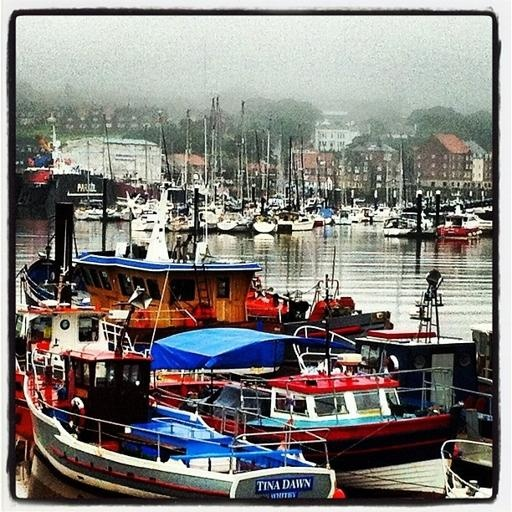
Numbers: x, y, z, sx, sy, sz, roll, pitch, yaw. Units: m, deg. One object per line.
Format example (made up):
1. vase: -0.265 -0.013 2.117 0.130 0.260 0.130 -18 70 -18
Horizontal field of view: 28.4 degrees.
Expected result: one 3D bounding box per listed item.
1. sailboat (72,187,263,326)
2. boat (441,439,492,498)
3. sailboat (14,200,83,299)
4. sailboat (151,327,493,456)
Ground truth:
1. sailboat: -1.902 0.116 17.945 1.651 2.252 3.305 -1 1 -32
2. boat: 2.632 2.436 12.582 0.635 0.196 0.851 0 50 6
3. sailboat: -3.107 -0.145 16.488 0.592 1.471 2.096 7 -1 -18
4. sailboat: 0.481 1.856 13.186 1.937 1.677 3.714 0 -2 -44
